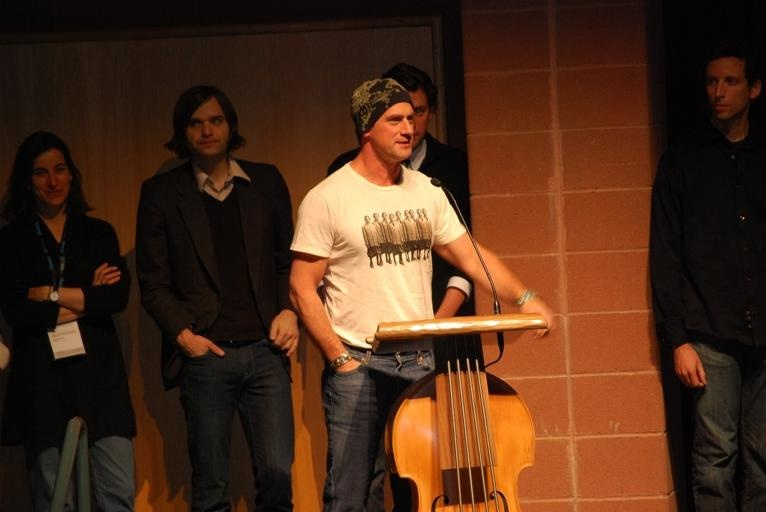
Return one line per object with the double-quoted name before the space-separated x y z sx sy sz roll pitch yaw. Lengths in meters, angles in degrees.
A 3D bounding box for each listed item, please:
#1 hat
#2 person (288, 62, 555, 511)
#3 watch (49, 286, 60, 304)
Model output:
"hat" -0.006 -0.740 4.919 0.303 0.287 0.298 -10 4 28
"person" -0.013 0.179 4.875 0.877 1.599 0.329 -3 2 -29
"watch" -1.848 0.224 5.364 0.050 0.074 0.016 3 -6 3
